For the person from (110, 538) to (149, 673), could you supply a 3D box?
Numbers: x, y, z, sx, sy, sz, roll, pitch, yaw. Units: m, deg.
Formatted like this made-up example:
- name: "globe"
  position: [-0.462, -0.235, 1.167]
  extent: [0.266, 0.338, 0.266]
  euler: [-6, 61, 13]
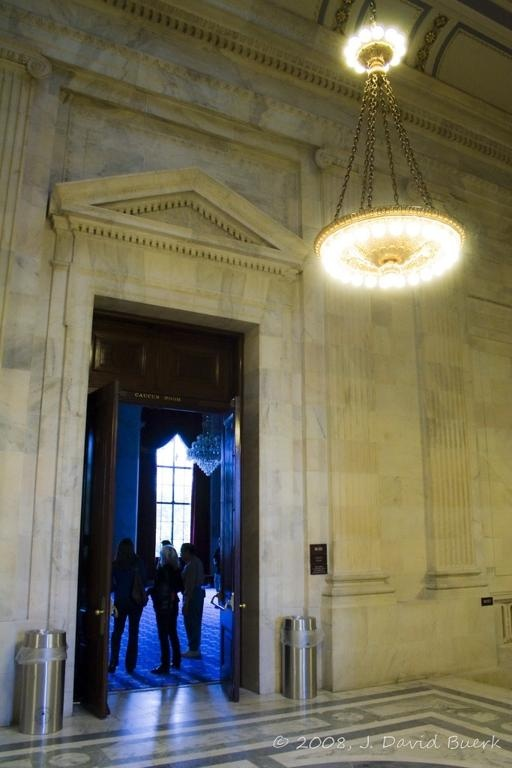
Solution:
- name: "person"
  position: [-1.221, 2.115, 6.151]
  extent: [0.340, 1.220, 0.648]
  euler: [3, -14, -12]

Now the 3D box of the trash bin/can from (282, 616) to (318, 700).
- name: "trash bin/can"
  position: [0.346, 2.157, 5.035]
  extent: [0.281, 0.579, 0.216]
  euler: [-1, -14, 5]

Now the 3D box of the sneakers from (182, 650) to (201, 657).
- name: "sneakers"
  position: [-0.682, 2.875, 6.778]
  extent: [0.192, 0.064, 0.153]
  euler: [2, -14, -7]

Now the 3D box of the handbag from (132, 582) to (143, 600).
- name: "handbag"
  position: [-1.140, 2.000, 6.141]
  extent: [0.135, 0.148, 0.045]
  euler: [6, 9, 3]

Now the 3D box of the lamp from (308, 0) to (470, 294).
- name: "lamp"
  position: [1.069, -2.242, 5.494]
  extent: [1.060, 3.334, 2.195]
  euler: [-3, -14, 11]

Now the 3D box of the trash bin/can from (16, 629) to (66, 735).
- name: "trash bin/can"
  position: [-1.329, 1.841, 3.942]
  extent: [0.298, 0.591, 0.200]
  euler: [5, -14, -19]

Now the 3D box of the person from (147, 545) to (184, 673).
- name: "person"
  position: [-0.906, 2.227, 6.447]
  extent: [0.344, 1.145, 1.166]
  euler: [2, -14, -8]
